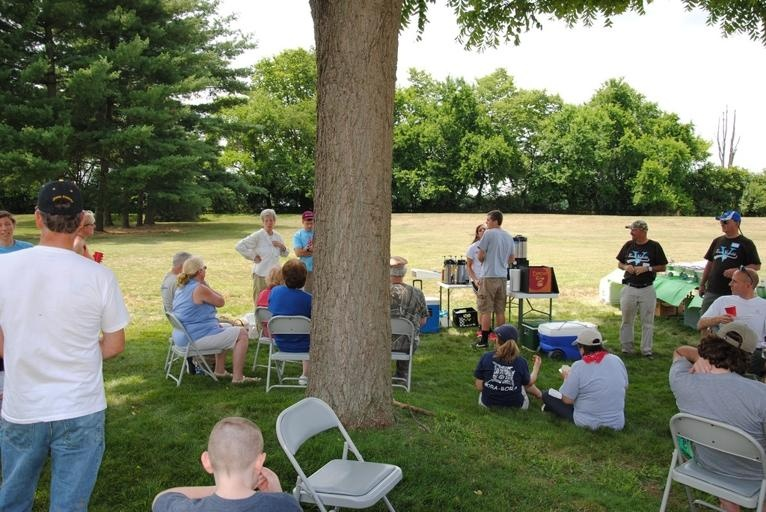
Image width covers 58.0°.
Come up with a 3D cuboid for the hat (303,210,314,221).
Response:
[{"bbox_3d":[-1.342,-0.731,12.469,0.245,0.185,0.349,1,2,-11],"label":"hat"}]

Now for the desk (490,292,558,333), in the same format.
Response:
[{"bbox_3d":[3.169,1.240,14.681,0.821,0.612,0.812,-14,0,15],"label":"desk"}]

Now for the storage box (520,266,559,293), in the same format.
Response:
[{"bbox_3d":[2.738,0.354,12.352,0.487,0.402,0.549,-1,2,4],"label":"storage box"}]

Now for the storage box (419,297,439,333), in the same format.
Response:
[{"bbox_3d":[0.883,1.139,13.059,0.530,0.751,0.779,-1,2,6],"label":"storage box"}]

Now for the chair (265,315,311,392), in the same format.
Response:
[{"bbox_3d":[-1.389,1.352,10.089,0.603,1.108,1.206,1,3,-10],"label":"chair"}]

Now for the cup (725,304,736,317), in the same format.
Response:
[{"bbox_3d":[4.750,0.736,9.541,0.133,0.139,0.137,-8,-7,-1],"label":"cup"}]

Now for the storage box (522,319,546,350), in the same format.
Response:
[{"bbox_3d":[2.597,1.382,12.094,0.252,0.501,0.547,1,3,-9],"label":"storage box"}]

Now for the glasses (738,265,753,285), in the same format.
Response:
[{"bbox_3d":[4.989,0.282,9.628,0.226,0.227,0.065,15,-40,-43],"label":"glasses"}]

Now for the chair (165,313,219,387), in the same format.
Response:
[{"bbox_3d":[-2.826,1.216,10.325,0.803,1.036,0.637,-12,34,-38],"label":"chair"}]

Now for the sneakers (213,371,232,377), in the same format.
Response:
[{"bbox_3d":[-2.392,1.764,10.424,0.239,0.102,0.086,0,2,-14],"label":"sneakers"}]

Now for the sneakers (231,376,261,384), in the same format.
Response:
[{"bbox_3d":[-2.004,1.813,10.154,0.255,0.098,0.167,4,-9,-25],"label":"sneakers"}]

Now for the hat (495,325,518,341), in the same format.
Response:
[{"bbox_3d":[1.671,1.043,9.476,0.295,0.232,0.207,2,3,10],"label":"hat"}]

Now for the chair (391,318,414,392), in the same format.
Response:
[{"bbox_3d":[0.298,1.402,10.254,0.344,1.063,0.638,2,4,3],"label":"chair"}]

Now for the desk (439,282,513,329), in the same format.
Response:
[{"bbox_3d":[1.759,1.004,14.321,0.977,0.712,0.782,3,-3,6],"label":"desk"}]

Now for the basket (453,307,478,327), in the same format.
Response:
[{"bbox_3d":[1.590,1.183,13.565,0.371,0.227,0.374,0,-1,11],"label":"basket"}]

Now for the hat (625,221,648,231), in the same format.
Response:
[{"bbox_3d":[4.247,-0.522,11.688,0.335,0.133,0.215,1,1,14],"label":"hat"}]

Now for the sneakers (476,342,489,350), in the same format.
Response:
[{"bbox_3d":[1.724,1.574,12.187,0.269,0.085,0.263,2,3,1],"label":"sneakers"}]

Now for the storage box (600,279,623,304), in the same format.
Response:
[{"bbox_3d":[5.079,0.809,15.665,0.283,0.538,0.606,0,4,-29],"label":"storage box"}]

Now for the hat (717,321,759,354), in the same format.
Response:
[{"bbox_3d":[3.911,0.874,7.663,0.308,0.250,0.421,24,8,27],"label":"hat"}]

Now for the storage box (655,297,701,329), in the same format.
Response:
[{"bbox_3d":[5.839,1.110,13.718,0.612,0.380,0.613,-1,5,-11],"label":"storage box"}]
